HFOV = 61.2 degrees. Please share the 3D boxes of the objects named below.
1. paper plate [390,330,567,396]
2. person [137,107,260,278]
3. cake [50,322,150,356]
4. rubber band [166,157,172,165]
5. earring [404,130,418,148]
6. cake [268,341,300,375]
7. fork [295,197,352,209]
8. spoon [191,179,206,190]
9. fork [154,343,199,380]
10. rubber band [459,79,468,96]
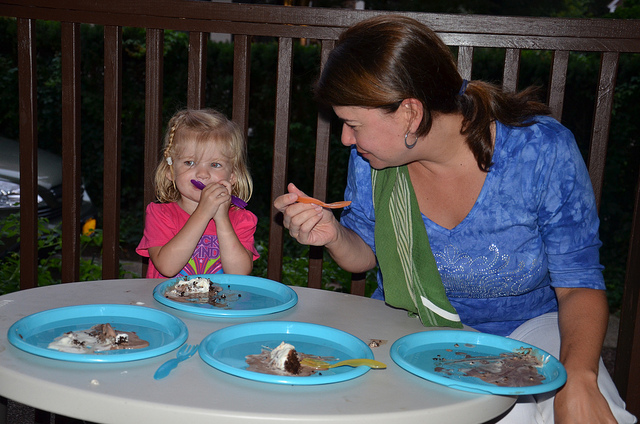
[{"bbox_3d":[0.458,0.439,1.614,0.493,0.040,0.504,10,8,42],"label":"paper plate"},{"bbox_3d":[-0.597,-0.094,2.626,0.569,0.826,0.506,-2,9,-8],"label":"person"},{"bbox_3d":[-0.643,0.376,1.564,0.126,0.031,0.127,5,5,0],"label":"cake"},{"bbox_3d":[-0.749,-0.254,2.691,0.019,0.030,0.007,-2,1,9],"label":"rubber band"},{"bbox_3d":[0.348,-0.276,2.066,0.061,0.064,0.034,-8,12,-43],"label":"earring"},{"bbox_3d":[-0.103,0.416,1.540,0.098,0.060,0.071,2,9,14],"label":"cake"},{"bbox_3d":[0.011,-0.030,2.071,0.226,0.047,0.066,9,-6,-3],"label":"fork"},{"bbox_3d":[-0.581,-0.131,2.588,0.063,0.033,0.018,39,33,-2],"label":"spoon"},{"bbox_3d":[-0.406,0.419,1.506,0.038,0.023,0.144,13,30,18],"label":"fork"},{"bbox_3d":[0.563,-0.486,2.109,0.013,0.053,0.052,18,27,16],"label":"rubber band"}]
